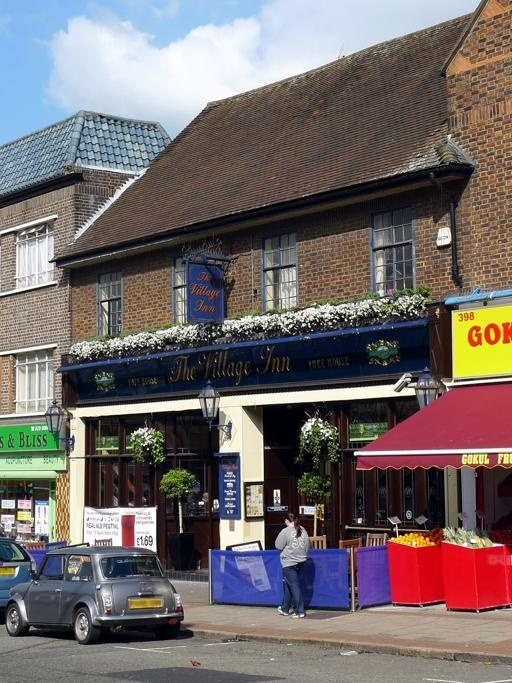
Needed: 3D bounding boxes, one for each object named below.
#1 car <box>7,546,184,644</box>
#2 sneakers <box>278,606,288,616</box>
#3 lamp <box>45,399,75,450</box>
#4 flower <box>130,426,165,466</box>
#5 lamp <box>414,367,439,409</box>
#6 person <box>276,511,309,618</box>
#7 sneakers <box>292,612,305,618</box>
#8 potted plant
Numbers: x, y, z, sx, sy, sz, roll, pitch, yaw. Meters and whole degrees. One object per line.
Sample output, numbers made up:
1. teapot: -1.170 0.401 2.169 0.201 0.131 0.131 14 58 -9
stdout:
1. car: -2.243 3.390 17.559 1.233 0.884 1.994 7 -8 -44
2. sneakers: 0.395 3.956 18.960 0.067 0.147 0.201 0 13 -24
3. lamp: -4.409 1.907 28.854 0.630 1.164 1.223 -2 -7 -9
4. flower: -2.217 2.101 26.572 0.806 0.852 0.694 4 12 3
5. lamp: 2.666 0.717 20.116 0.375 0.653 0.725 -4 -7 8
6. person: 0.526 3.264 18.913 0.491 1.477 0.707 -3 -7 1
7. sneakers: 0.607 3.922 18.507 0.175 0.078 0.067 4 -11 8
8. potted plant: -1.582 3.185 25.954 0.638 1.284 0.691 -5 -7 17
